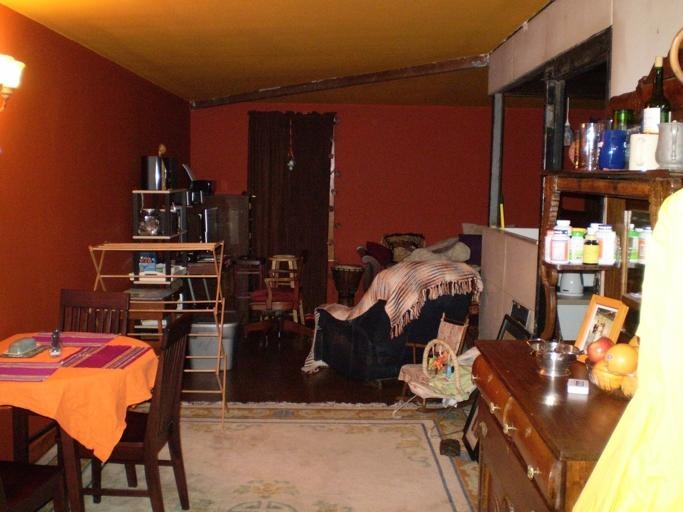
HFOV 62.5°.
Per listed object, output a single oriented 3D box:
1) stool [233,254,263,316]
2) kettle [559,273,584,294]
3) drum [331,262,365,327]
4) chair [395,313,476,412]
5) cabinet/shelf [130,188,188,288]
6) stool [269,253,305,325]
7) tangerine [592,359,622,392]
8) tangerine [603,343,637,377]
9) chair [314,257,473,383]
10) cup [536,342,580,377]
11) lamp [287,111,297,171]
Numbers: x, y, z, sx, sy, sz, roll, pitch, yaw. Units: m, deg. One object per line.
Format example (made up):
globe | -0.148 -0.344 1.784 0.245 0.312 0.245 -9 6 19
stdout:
stool | -1.175 0.376 6.949 0.376 0.677 0.335 1 4 -12
kettle | 1.482 0.185 3.682 0.170 0.168 0.154 -2 5 -2
drum | 0.061 0.433 7.386 0.450 0.556 0.419 3 -1 0
chair | 0.753 0.813 4.274 0.436 0.625 0.528 2 15 44
cabinet/shelf | -1.604 -0.143 4.870 0.319 0.802 0.888 1 6 -5
stool | -0.693 0.435 6.536 0.478 0.967 0.561 1 10 -8
tangerine | 0.957 0.432 2.028 0.094 0.084 0.091 4 3 -9
tangerine | 1.012 0.362 2.021 0.105 0.108 0.132 4 9 26
chair | 0.462 0.565 5.055 0.983 0.877 1.289 -5 9 -35
cup | 0.856 0.431 2.264 0.209 0.090 0.161 -3 -12 33
lamp | -0.714 -1.530 7.767 0.087 0.709 0.094 8 11 40
